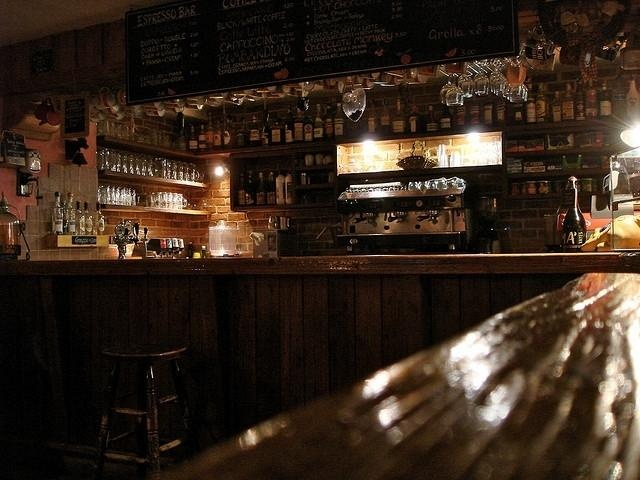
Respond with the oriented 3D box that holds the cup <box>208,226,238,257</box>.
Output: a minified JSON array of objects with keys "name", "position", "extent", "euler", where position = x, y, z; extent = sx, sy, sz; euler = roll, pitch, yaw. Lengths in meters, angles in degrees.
[{"name":"cup","position":[-1.002,0.020,5.938],"extent":[0.303,0.293,0.300],"euler":[0,-3,0]}]

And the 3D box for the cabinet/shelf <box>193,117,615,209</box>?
[{"name":"cabinet/shelf","position":[0.725,-0.721,5.064],"extent":[3.339,0.794,0.389],"euler":[-1,4,22]}]

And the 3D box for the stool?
[{"name":"stool","position":[-0.769,0.745,2.516],"extent":[0.396,0.639,0.656],"euler":[-4,4,-15]}]

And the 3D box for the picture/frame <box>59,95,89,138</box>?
[{"name":"picture/frame","position":[-1.581,-0.799,3.705],"extent":[0.281,0.373,0.038],"euler":[2,4,20]}]

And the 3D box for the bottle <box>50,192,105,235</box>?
[{"name":"bottle","position":[-1.904,-0.203,4.469],"extent":[0.077,0.320,0.350],"euler":[-2,-2,22]}]

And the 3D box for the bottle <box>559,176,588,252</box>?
[{"name":"bottle","position":[1.078,-0.108,2.458],"extent":[0.092,0.320,0.278],"euler":[-1,4,23]}]

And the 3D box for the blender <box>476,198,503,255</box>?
[{"name":"blender","position":[1.442,-0.137,4.993],"extent":[0.180,0.487,0.173],"euler":[-3,8,28]}]

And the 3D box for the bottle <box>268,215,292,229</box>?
[{"name":"bottle","position":[-0.388,-0.165,5.479],"extent":[0.192,0.128,0.113],"euler":[-1,2,19]}]

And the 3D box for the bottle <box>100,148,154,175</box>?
[{"name":"bottle","position":[-1.684,-0.685,5.038],"extent":[0.158,0.220,0.649],"euler":[-2,4,18]}]
